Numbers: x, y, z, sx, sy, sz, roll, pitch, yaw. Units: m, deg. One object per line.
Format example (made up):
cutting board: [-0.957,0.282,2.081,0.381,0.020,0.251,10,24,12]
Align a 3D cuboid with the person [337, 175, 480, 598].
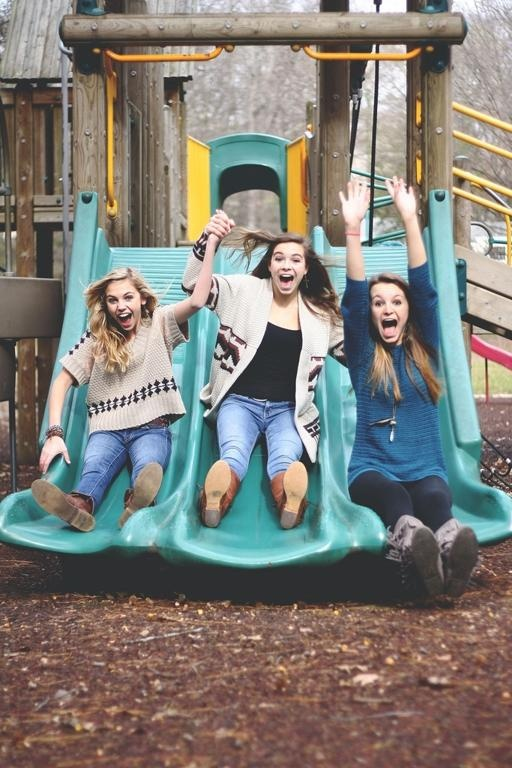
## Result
person: [0.450,-0.029,2.510,0.379,1.320,0.786,1,3,5]

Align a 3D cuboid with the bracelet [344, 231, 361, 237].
bracelet: [0.307,-0.476,2.564,0.040,0.021,0.032,1,3,0]

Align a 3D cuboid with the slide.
slide: [-0.128,-0.014,2.953,1.173,0.821,1.574,0,9,1]

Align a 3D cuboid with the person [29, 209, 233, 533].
person: [-0.459,0.010,2.854,0.772,1.330,0.876,1,-2,0]

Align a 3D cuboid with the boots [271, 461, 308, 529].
boots: [0.105,0.353,2.553,0.086,0.242,0.109,4,21,3]

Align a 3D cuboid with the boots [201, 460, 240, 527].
boots: [-0.110,0.336,2.540,0.085,0.235,0.102,7,12,5]

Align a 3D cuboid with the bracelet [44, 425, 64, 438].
bracelet: [-0.668,0.160,2.678,0.039,0.035,0.045,4,-13,-42]

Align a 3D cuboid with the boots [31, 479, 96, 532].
boots: [-0.584,0.378,2.461,0.154,0.062,0.109,40,-7,-13]

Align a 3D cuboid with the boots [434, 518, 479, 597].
boots: [0.548,0.471,2.241,0.083,0.242,0.100,3,27,1]
